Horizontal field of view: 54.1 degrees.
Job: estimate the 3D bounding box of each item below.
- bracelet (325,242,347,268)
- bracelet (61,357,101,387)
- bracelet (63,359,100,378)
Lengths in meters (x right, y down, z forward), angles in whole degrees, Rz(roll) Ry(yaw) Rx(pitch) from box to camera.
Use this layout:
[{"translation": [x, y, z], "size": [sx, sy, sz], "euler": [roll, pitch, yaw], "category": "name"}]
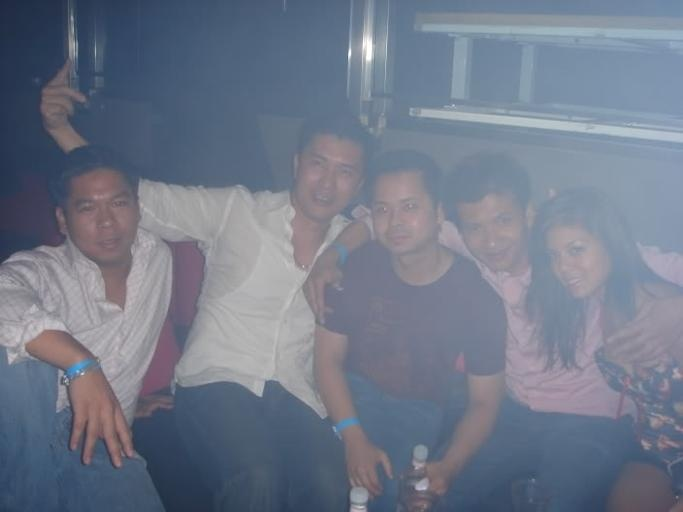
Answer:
[{"translation": [-0.017, -0.001, 2.461], "size": [0.079, 0.063, 0.081], "euler": [-6, -14, -21], "category": "bracelet"}, {"translation": [-0.814, 0.366, 2.076], "size": [0.093, 0.037, 0.084], "euler": [-39, 10, -3], "category": "bracelet"}, {"translation": [-0.800, 0.345, 2.053], "size": [0.098, 0.061, 0.029], "euler": [1, 6, -20], "category": "bracelet"}]
